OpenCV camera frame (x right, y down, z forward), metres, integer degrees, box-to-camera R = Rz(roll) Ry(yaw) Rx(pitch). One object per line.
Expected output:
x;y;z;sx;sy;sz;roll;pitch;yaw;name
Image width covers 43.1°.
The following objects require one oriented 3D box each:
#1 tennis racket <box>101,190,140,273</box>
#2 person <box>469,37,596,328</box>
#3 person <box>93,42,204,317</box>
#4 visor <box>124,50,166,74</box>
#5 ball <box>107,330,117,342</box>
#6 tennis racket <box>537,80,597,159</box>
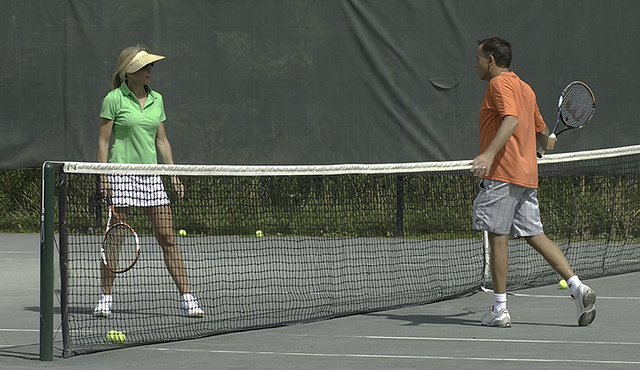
-2.256;0.341;9.091;0.443;1.247;0.063;-3;-3;5;tennis racket
2.247;-0.025;8.955;1.157;3.140;0.869;1;10;8;person
-2.049;-0.009;9.294;1.165;3.094;0.989;-4;11;-18;person
-2.022;-1.407;9.255;0.402;0.261;0.183;0;11;5;visor
-2.206;1.591;8.605;0.067;0.077;0.087;0;3;1;ball
3.505;-0.935;11.412;1.366;0.533;0.132;-52;15;-19;tennis racket
